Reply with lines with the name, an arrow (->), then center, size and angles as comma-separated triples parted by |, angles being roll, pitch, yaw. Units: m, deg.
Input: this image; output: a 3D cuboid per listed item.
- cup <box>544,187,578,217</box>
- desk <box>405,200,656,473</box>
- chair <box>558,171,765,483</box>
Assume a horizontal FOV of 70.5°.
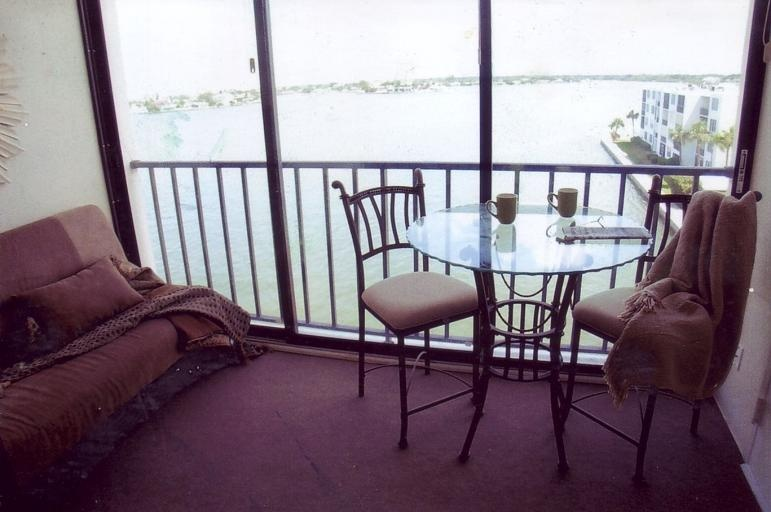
cup -> 1.016, -0.314, 3.172 | 0.213, 0.179, 0.133 | 2, 21, 17
desk -> 0.760, 0.496, 3.052 | 1.334, 1.182, 1.411 | -5, -15, 41
chair -> 1.458, 0.381, 2.894 | 0.858, 1.454, 0.662 | -8, 22, -18
